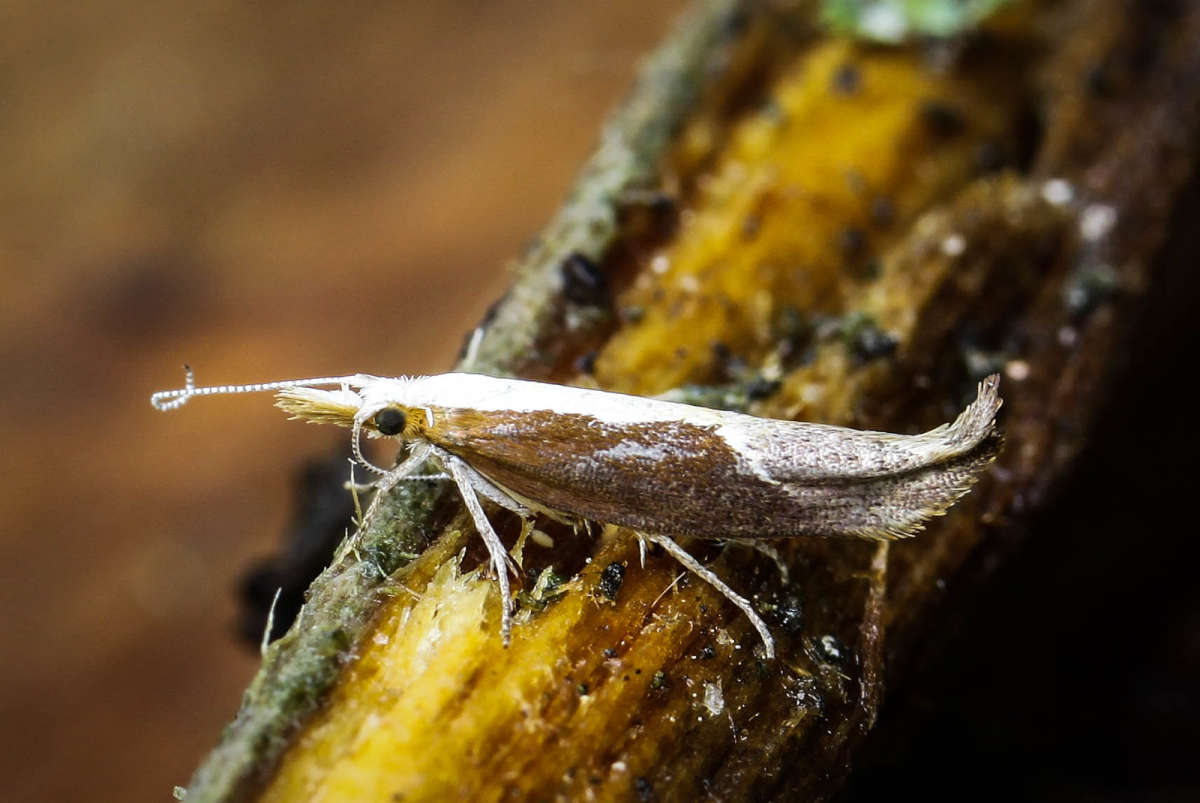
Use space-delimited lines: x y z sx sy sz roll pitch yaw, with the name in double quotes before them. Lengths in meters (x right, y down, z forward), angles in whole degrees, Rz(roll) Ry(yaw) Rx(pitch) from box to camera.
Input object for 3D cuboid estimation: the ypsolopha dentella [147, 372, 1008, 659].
"ypsolopha dentella" -0.106 0.481 6.273 3.561 1.038 1.979 2 5 7
